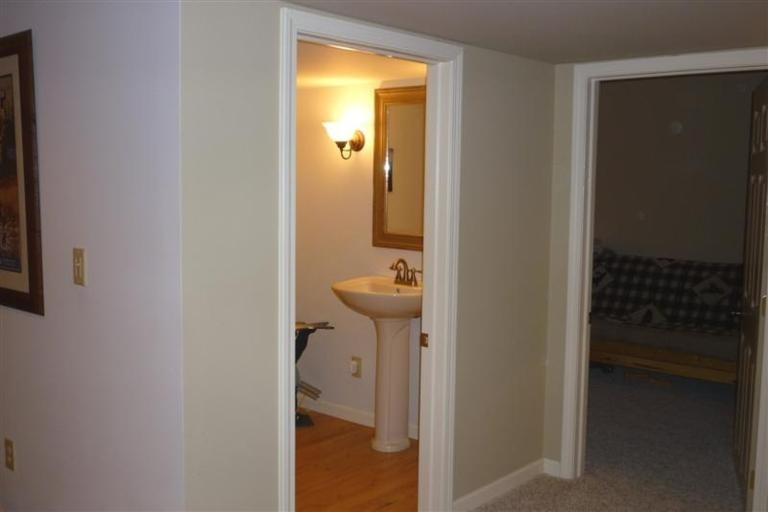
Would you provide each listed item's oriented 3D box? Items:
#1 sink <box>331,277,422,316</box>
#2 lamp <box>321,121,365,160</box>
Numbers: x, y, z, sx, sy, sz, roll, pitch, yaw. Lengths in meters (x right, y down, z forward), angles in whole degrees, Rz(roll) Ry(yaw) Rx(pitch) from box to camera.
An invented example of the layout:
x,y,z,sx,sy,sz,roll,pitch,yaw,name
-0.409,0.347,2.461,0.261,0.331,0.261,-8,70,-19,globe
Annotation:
x,y,z,sx,sy,sz,roll,pitch,yaw,name
-0.053,0.328,4.697,0.579,0.240,0.965,-1,6,-12,sink
-0.326,-0.889,4.864,0.311,0.263,0.266,-6,7,-40,lamp
